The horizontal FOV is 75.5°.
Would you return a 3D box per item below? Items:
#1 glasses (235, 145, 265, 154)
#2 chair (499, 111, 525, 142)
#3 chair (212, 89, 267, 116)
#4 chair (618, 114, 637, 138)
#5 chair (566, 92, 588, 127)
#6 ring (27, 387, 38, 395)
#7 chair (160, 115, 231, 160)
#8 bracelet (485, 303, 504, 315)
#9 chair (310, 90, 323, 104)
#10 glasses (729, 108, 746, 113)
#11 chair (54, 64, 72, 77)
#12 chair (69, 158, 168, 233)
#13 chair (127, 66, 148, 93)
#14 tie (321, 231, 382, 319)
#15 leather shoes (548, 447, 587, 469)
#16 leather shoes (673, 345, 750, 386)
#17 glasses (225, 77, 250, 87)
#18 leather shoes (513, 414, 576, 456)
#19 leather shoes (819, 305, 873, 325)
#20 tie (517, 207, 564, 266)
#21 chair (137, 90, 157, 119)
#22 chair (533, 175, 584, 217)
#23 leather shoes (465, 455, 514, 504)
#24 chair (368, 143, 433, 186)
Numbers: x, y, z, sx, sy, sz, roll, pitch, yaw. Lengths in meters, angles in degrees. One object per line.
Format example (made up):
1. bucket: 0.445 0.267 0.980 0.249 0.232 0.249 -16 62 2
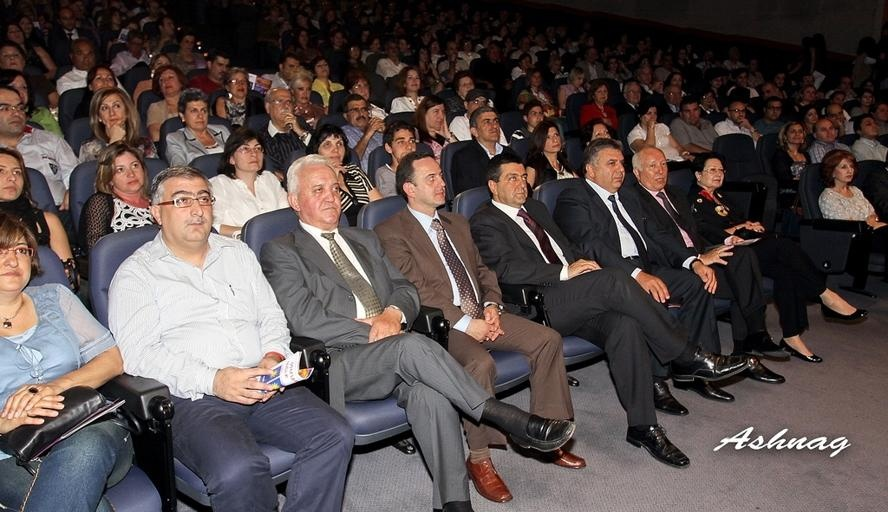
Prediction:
1. glasses: -1.437 -0.791 4.232 0.173 0.057 0.073 -9 16 -40
2. chair: 0.802 -1.587 7.008 0.288 0.370 0.537 7 13 19
3. chair: -2.218 -1.653 6.174 0.417 0.467 0.475 1 12 -6
4. chair: 2.456 -1.738 7.685 0.221 0.338 0.293 5 13 14
5. chair: 1.817 -2.107 8.214 0.420 0.505 0.455 2 17 2
6. ring: -1.863 0.604 2.590 0.034 0.029 0.012 3 -16 -21
7. chair: -2.395 -1.029 5.467 0.628 0.470 0.499 -9 11 -34
8. bracelet: 0.320 0.320 3.628 0.086 0.081 0.089 19 8 -6
9. chair: -1.608 -1.999 7.197 0.146 0.160 0.293 -1 12 -11
10. glasses: 4.000 -1.995 7.809 0.190 0.052 0.064 0 13 -11
11. chair: -4.584 -2.208 6.893 0.182 0.179 0.498 -7 15 -34
12. chair: -2.373 -0.412 4.250 0.683 0.563 0.527 -1 7 -14
13. chair: -3.824 -2.195 7.112 0.288 0.338 0.237 -7 16 -35
14. tie: -0.564 0.128 3.381 0.119 0.530 0.142 -34 -6 -19
15. leather shoes: 0.754 1.240 3.549 0.264 0.097 0.091 2 18 29
16. leather shoes: 1.705 0.703 3.828 0.566 0.233 0.193 -6 26 15
17. glasses: -2.197 -1.851 6.076 0.230 0.106 0.112 -2 13 -19
18. leather shoes: 0.514 0.919 3.047 0.370 0.143 0.169 2 27 26
19. leather shoes: 3.476 0.510 4.962 0.425 0.163 0.138 -8 4 22
20. tie: 0.673 -0.133 4.070 0.093 0.498 0.075 -35 -18 -16
21. chair: -3.207 -1.631 6.139 0.244 0.311 0.316 -1 13 -14
22. chair: 0.865 -0.452 4.501 0.320 0.319 0.408 -3 -3 -17
23. leather shoes: 0.222 1.242 3.349 0.143 0.143 0.372 -15 29 -30
24. chair: -0.424 -0.835 5.272 0.474 0.449 0.492 -4 4 -16
